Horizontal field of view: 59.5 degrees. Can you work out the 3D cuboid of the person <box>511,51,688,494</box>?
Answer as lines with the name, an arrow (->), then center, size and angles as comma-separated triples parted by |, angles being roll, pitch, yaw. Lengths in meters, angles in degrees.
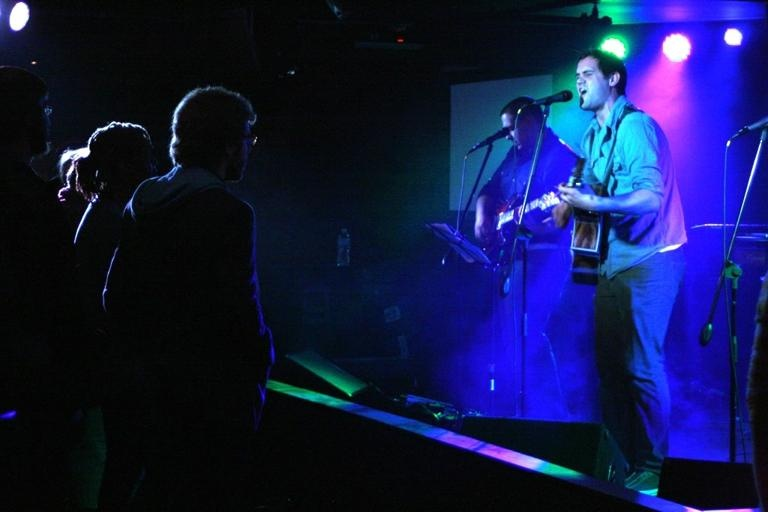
person -> 1.484, 0.006, 4.265 | 0.762, 2.662, 0.751 | 5, 5, 25

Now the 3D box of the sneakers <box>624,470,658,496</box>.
sneakers -> 1.534, 1.330, 4.000 | 0.179, 0.077, 0.227 | 5, 5, 21

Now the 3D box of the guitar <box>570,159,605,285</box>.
guitar -> 1.325, -0.204, 4.358 | 0.163, 0.337, 0.807 | -2, -8, 23

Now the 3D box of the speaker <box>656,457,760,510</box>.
speaker -> 1.638, 1.151, 3.405 | 0.323, 0.210, 0.323 | -4, -5, 5
